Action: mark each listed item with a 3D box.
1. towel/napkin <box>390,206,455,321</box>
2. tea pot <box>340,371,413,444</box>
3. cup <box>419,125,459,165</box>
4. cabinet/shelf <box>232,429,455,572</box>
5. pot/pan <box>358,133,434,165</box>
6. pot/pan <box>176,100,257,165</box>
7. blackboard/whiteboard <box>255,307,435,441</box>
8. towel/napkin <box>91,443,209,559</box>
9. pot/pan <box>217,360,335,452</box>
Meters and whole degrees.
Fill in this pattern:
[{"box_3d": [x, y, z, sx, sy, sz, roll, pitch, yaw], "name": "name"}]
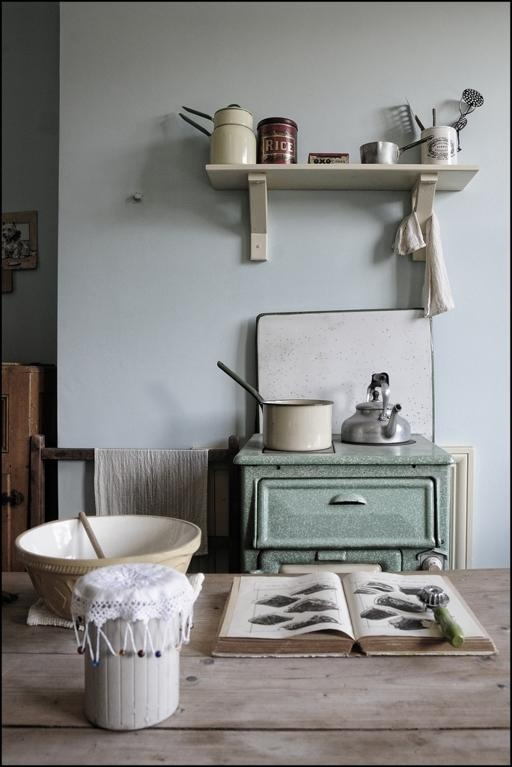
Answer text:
[{"box_3d": [0.545, -0.385, 2.562, 0.181, 0.351, 0.178, -1, 11, 9], "name": "towel/napkin"}, {"box_3d": [0.322, 0.081, 2.276, 0.164, 0.172, 0.241, 1, -4, -10], "name": "tea pot"}, {"box_3d": [0.580, -0.738, 2.516, 0.136, 0.137, 0.130, 0, -1, 0], "name": "cup"}, {"box_3d": [0.216, 0.461, 2.280, 0.593, 0.540, 0.437, 2, 3, -4], "name": "cabinet/shelf"}, {"box_3d": [0.438, -0.719, 2.460, 0.213, 0.076, 0.108, -2, 9, 1], "name": "pot/pan"}, {"box_3d": [-0.105, -0.785, 2.502, 0.308, 0.214, 0.166, 3, 9, 18], "name": "pot/pan"}, {"box_3d": [0.310, -0.022, 2.512, 0.483, 0.371, 0.026, 0, -4, 0], "name": "blackboard/whiteboard"}, {"box_3d": [-0.354, 0.355, 2.631, 0.304, 0.248, 0.029, 2, 10, -2], "name": "towel/napkin"}, {"box_3d": [0.119, 0.074, 2.269, 0.375, 0.246, 0.205, 0, -2, 21], "name": "pot/pan"}]
